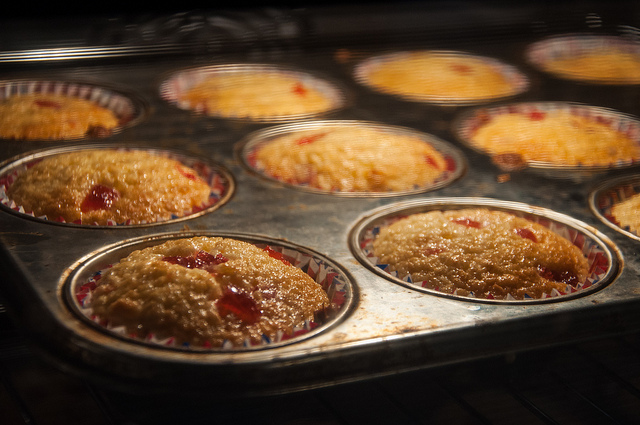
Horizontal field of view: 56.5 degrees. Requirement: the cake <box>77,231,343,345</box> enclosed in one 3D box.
[{"bbox_3d":[-0.260,0.163,1.449,0.625,0.131,0.346,-1,35,2],"label":"cake"}]
